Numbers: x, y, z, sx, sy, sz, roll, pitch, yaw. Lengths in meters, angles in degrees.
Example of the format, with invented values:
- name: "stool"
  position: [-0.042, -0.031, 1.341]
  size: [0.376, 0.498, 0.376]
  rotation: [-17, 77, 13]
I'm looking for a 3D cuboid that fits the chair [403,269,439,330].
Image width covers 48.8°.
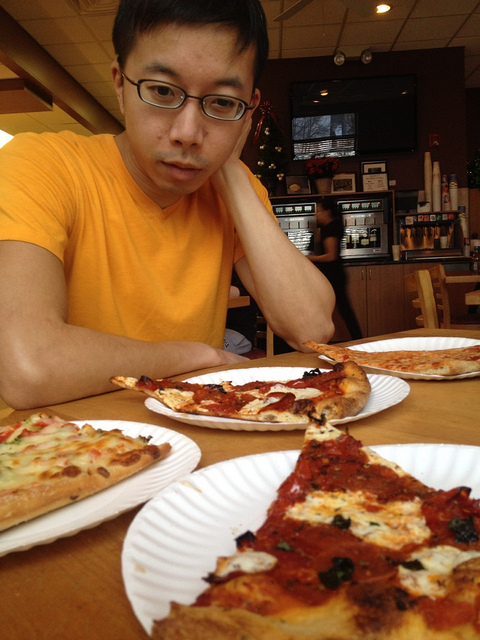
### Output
- name: "chair"
  position: [1.037, -0.108, 3.034]
  size: [0.182, 0.357, 0.747]
  rotation: [-2, 6, 19]

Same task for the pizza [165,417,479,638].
- name: "pizza"
  position: [0.084, 0.142, 0.379]
  size: [0.157, 0.057, 0.248]
  rotation: [-1, 6, 25]

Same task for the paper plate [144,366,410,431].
- name: "paper plate"
  position: [0.038, 0.106, 0.877]
  size: [0.458, 0.029, 0.428]
  rotation: [1, 7, 6]

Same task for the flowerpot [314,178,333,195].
- name: "flowerpot"
  position: [1.042, -1.668, 6.568]
  size: [0.205, 0.146, 0.199]
  rotation: [1, 8, 27]

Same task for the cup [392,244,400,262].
- name: "cup"
  position: [1.898, -0.833, 6.431]
  size: [0.090, 0.173, 0.180]
  rotation: [-3, 6, 13]

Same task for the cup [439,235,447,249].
- name: "cup"
  position: [2.428, -0.932, 6.316]
  size: [0.086, 0.157, 0.193]
  rotation: [-2, 6, 21]
